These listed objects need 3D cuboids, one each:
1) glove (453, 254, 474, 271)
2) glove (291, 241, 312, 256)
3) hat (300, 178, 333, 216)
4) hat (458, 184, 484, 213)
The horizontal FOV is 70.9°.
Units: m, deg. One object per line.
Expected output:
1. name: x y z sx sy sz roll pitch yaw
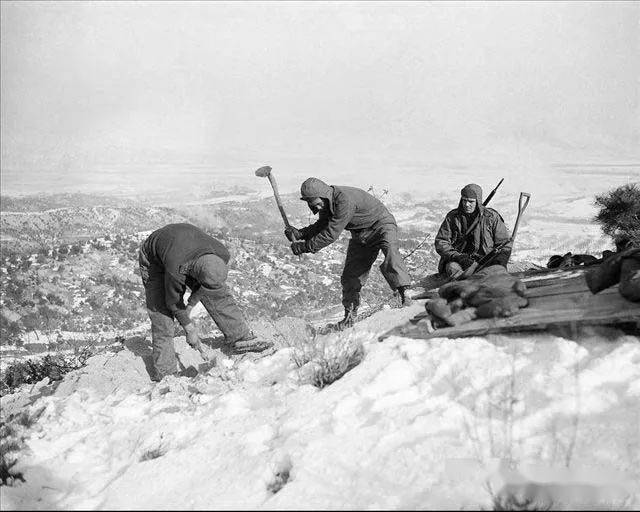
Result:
1. glove: 2.305 0.111 7.156 0.168 0.212 0.420 -9 14 -15
2. glove: -0.300 -0.113 6.720 0.260 0.218 0.409 -11 15 -20
3. hat: -0.067 -0.861 6.526 0.399 0.560 0.470 3 16 33
4. hat: 2.478 -0.923 7.391 0.361 0.490 0.381 -1 14 16
